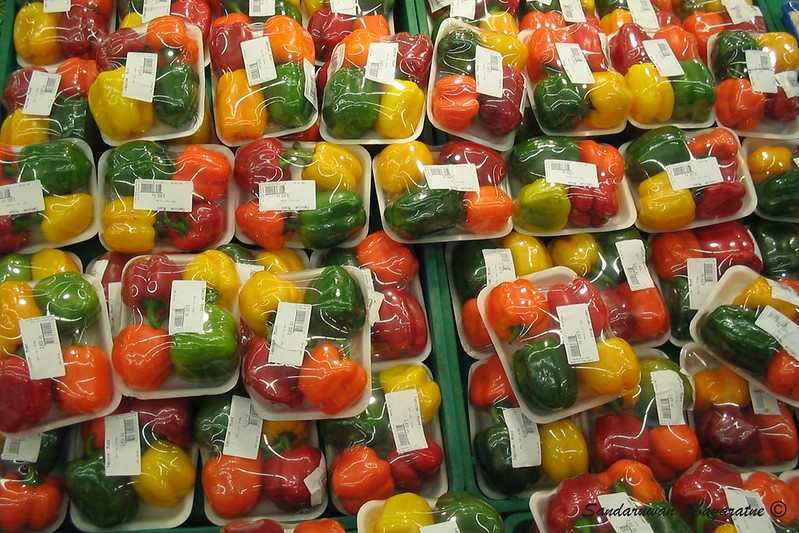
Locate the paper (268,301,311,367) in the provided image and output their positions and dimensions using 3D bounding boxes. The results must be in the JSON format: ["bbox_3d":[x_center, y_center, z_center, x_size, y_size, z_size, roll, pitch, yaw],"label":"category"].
[{"bbox_3d":[-0.583,0.363,3.186,0.191,0.063,0.336,8,74,-5],"label":"paper"}]

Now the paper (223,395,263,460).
[{"bbox_3d":[-0.859,0.881,3.278,0.185,0.066,0.315,6,79,-10],"label":"paper"}]

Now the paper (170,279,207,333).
[{"bbox_3d":[-1.138,0.213,3.185,0.164,0.059,0.281,2,86,-7],"label":"paper"}]

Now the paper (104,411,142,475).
[{"bbox_3d":[-1.488,0.963,3.217,0.180,0.044,0.331,-5,75,-8],"label":"paper"}]

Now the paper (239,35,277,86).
[{"bbox_3d":[-0.852,-1.244,3.632,0.180,0.060,0.287,-13,77,-10],"label":"paper"}]
